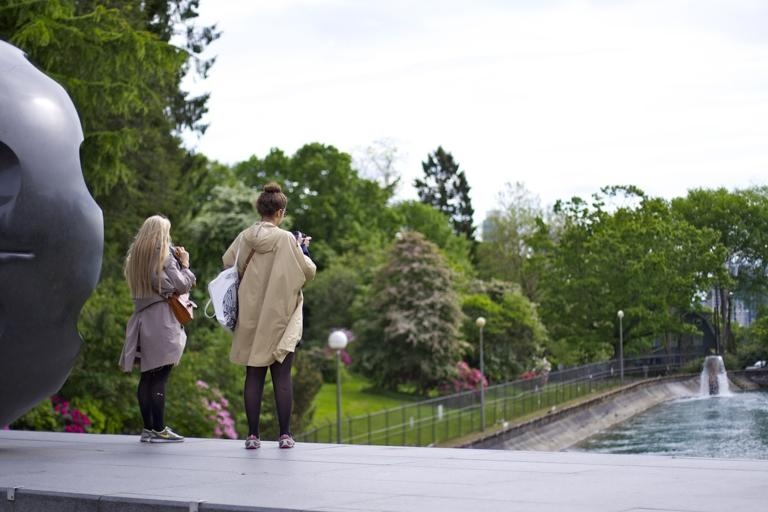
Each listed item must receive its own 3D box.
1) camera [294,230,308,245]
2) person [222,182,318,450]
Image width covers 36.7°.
[{"bbox_3d":[-1.529,-0.389,21.037,0.210,0.087,0.216,15,29,-43],"label":"camera"},{"bbox_3d":[-2.109,1.024,20.845,1.309,4.781,0.416,3,-2,-6],"label":"person"}]
